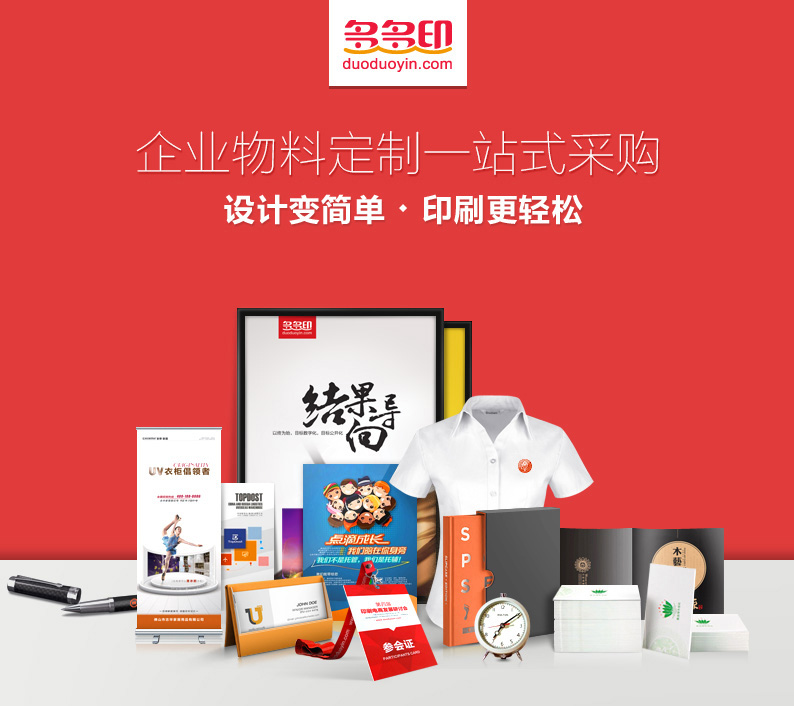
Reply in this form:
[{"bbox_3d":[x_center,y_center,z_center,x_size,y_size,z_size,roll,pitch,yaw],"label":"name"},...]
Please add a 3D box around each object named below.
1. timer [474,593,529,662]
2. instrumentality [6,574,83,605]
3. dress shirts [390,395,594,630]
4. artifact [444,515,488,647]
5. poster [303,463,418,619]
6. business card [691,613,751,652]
[{"bbox_3d":[0.200,0.533,1.629,0.107,0.132,0.041,0,-14,1],"label":"timer"},{"bbox_3d":[-0.826,0.557,1.978,0.236,0.056,0.034,-4,-6,26],"label":"instrumentality"},{"bbox_3d":[0.184,0.352,1.805,0.432,0.506,0.163,1,-4,-3],"label":"dress shirts"},{"bbox_3d":[0.134,0.446,1.659,0.079,0.253,0.051,-1,-5,-10],"label":"artifact"},{"bbox_3d":[-0.085,0.422,1.854,0.313,0.425,0.031,0,-4,-2],"label":"poster"},{"bbox_3d":[0.654,0.574,1.727,0.123,0.060,0.112,-2,-5,7],"label":"business card"}]
